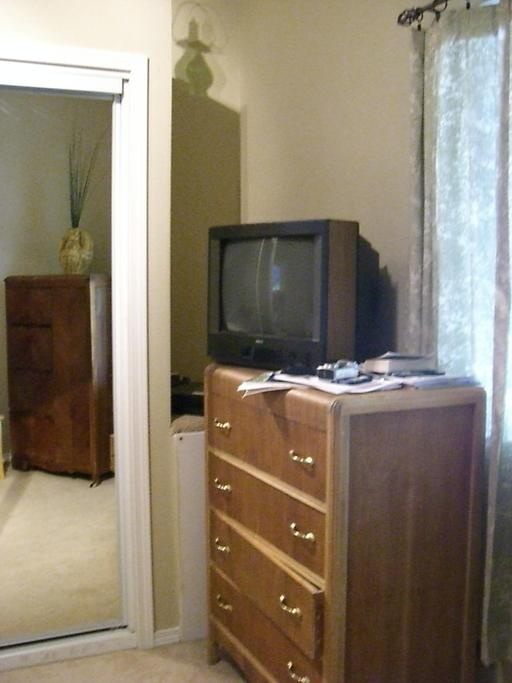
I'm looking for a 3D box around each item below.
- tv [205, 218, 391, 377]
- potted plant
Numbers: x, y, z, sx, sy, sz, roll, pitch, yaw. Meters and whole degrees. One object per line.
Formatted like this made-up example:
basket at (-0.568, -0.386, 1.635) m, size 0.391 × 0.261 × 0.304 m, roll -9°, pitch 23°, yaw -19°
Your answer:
tv at (0.115, -0.007, 1.814) m, size 0.339 × 0.527 × 0.491 m, roll -2°, pitch 4°, yaw -38°
potted plant at (-0.556, -0.440, 1.982) m, size 0.152 × 0.448 × 0.060 m, roll -3°, pitch 7°, yaw -22°
